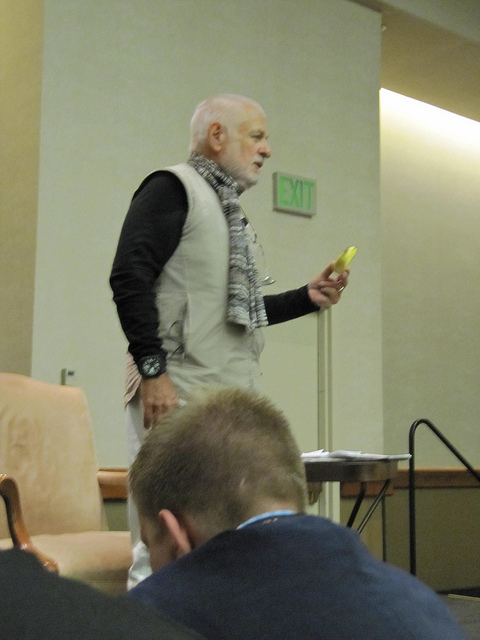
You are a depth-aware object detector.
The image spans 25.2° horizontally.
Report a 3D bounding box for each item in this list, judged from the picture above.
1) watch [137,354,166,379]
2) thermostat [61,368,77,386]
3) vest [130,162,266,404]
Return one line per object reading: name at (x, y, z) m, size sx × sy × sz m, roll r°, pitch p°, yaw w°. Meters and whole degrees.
watch at (-0.195, 0.111, 2.313) m, size 0.060 × 0.040 × 0.056 m, roll -22°, pitch 5°, yaw -27°
thermostat at (-0.599, 0.202, 3.789) m, size 0.067 × 0.061 × 0.052 m, roll 0°, pitch 2°, yaw -30°
vest at (-0.074, -0.095, 2.477) m, size 0.301 × 0.547 × 0.197 m, roll -1°, pitch 2°, yaw -37°
